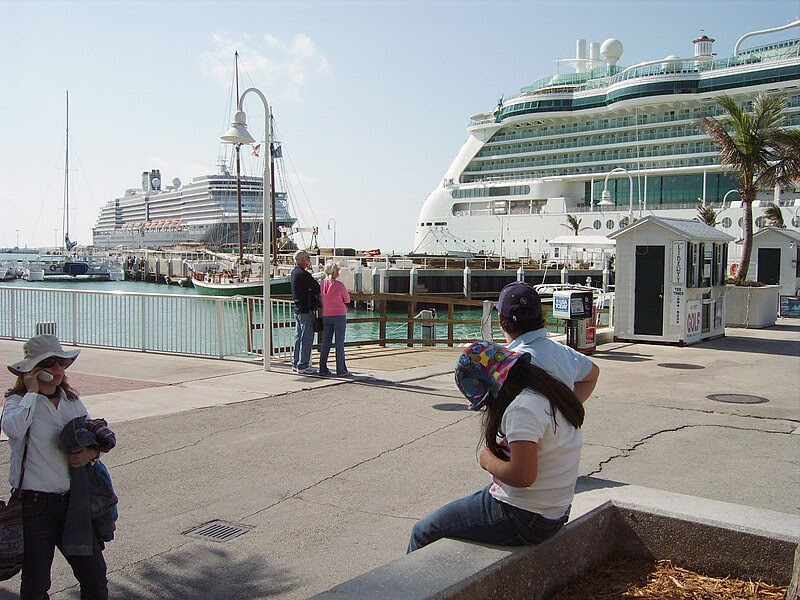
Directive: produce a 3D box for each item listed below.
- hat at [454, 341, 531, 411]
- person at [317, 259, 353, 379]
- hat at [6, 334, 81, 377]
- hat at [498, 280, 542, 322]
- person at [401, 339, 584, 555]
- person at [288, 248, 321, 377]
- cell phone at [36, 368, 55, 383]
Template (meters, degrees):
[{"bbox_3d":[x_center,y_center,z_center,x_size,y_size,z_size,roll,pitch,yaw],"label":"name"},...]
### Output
[{"bbox_3d":[0.548,0.460,4.314,0.426,0.418,0.215,2,7,17],"label":"hat"},{"bbox_3d":[-1.131,0.308,12.671,0.553,2.002,1.273,-1,6,-5],"label":"person"},{"bbox_3d":[-2.359,0.358,4.831,0.346,0.149,0.351,-24,-4,37],"label":"hat"},{"bbox_3d":[0.738,0.006,4.441,0.196,0.152,0.278,1,11,4],"label":"hat"},{"bbox_3d":[0.614,0.899,4.371,0.916,1.299,0.428,2,7,14],"label":"person"},{"bbox_3d":[-1.607,0.201,12.600,0.487,2.099,0.666,-1,6,-8],"label":"person"},{"bbox_3d":[-2.330,0.505,4.806,0.074,0.088,0.145,9,-1,35],"label":"cell phone"}]
